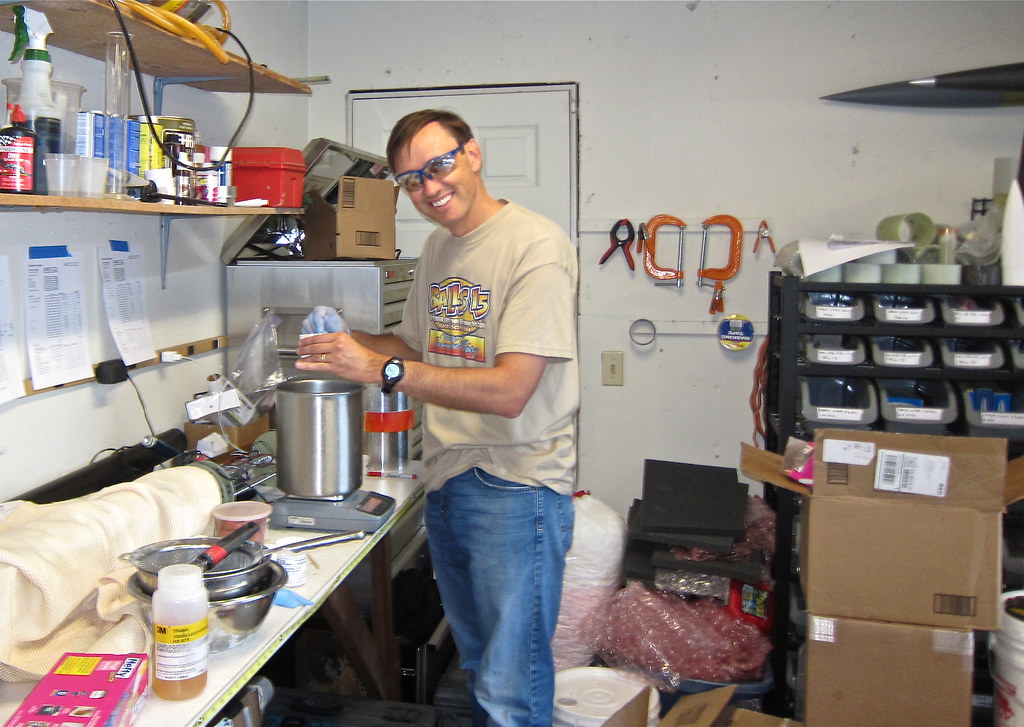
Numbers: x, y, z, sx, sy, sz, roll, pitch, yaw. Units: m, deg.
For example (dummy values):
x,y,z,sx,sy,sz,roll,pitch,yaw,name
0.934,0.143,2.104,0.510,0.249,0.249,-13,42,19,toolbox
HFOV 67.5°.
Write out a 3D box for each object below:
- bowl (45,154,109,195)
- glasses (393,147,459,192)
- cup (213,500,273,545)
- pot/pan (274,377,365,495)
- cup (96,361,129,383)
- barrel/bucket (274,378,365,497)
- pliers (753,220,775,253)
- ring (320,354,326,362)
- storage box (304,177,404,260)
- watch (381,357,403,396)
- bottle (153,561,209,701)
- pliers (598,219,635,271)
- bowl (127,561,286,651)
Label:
x,y,z,sx,sy,sz,roll,pitch,yaw,name
-1.069,-0.469,1.892,0.112,0.067,0.088,6,10,23,bowl
-0.248,-0.550,2.173,0.186,0.122,0.078,4,9,25,glasses
-0.689,0.376,1.960,0.145,0.091,0.141,1,1,0,cup
-0.518,0.226,2.326,0.305,0.326,0.318,1,1,0,pot/pan
-1.294,0.026,2.480,0.062,0.074,0.109,0,1,9,cup
-0.483,0.224,2.287,0.307,0.328,0.320,0,1,0,barrel/bucket
1.165,-0.578,3.542,0.107,0.129,0.039,1,10,2,pliers
-0.512,-0.011,2.077,0.015,0.013,0.014,1,6,0,ring
-0.596,-0.573,3.137,0.328,0.410,0.442,12,15,37,storage box
-0.324,0.035,2.095,0.054,0.084,0.084,23,-21,12,watch
-0.657,0.521,1.512,0.109,0.279,0.134,-2,9,-22,bottle
0.487,-0.556,3.561,0.180,0.218,0.058,12,14,17,pliers
-0.625,0.505,1.672,0.242,0.083,0.235,14,-11,3,bowl
